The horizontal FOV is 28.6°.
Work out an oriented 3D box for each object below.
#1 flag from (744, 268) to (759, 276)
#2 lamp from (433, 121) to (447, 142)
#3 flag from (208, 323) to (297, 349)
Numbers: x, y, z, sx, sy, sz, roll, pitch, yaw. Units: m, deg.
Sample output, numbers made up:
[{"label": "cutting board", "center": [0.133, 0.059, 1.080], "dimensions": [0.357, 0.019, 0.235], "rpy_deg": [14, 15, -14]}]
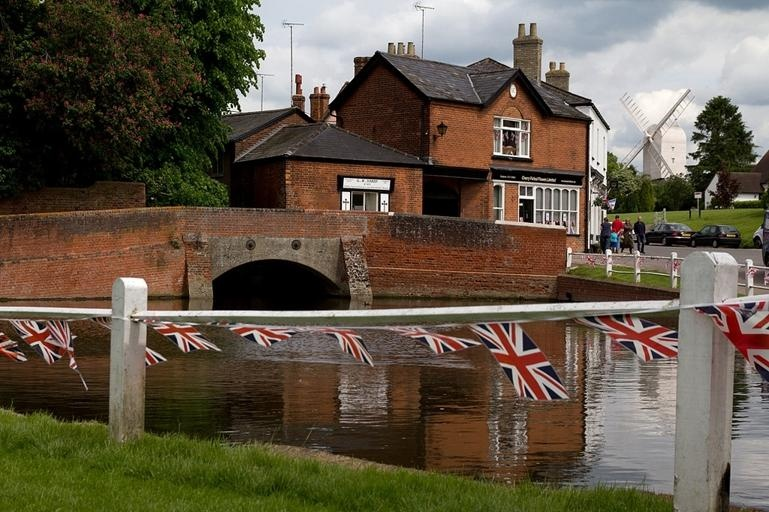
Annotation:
[{"label": "flag", "center": [13.137, 0.593, 53.163], "dimensions": [0.332, 0.180, 0.550], "rpy_deg": [-2, -8, 9]}, {"label": "lamp", "center": [2.538, -5.474, 66.764], "dimensions": [0.527, 0.832, 0.703], "rpy_deg": [4, 12, 12]}, {"label": "flag", "center": [-3.122, 1.935, 37.033], "dimensions": [2.267, 0.741, 1.423], "rpy_deg": [0, -2, -8]}]
